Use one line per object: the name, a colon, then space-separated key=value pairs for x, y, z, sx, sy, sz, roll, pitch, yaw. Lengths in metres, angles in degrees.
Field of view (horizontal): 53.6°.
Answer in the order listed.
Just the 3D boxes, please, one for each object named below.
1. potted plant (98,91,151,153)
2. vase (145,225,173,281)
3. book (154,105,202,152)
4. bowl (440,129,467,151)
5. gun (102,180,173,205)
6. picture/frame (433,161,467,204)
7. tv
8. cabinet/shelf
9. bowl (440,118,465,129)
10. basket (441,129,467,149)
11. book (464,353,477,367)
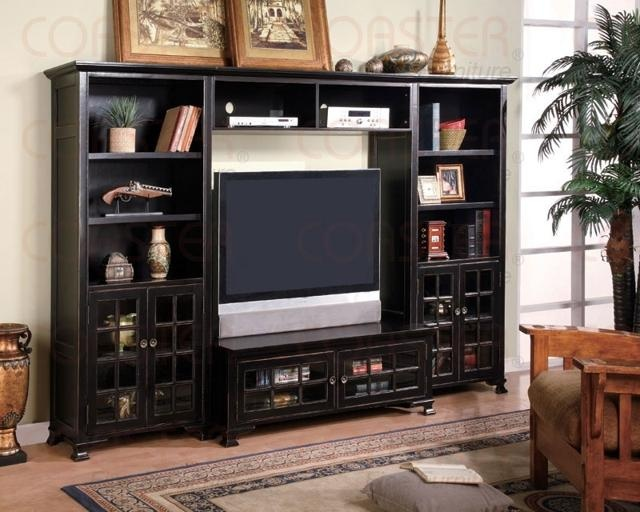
potted plant: x=-1.156 y=-0.788 z=3.884 sx=0.446 sy=0.355 sz=0.382 roll=0 pitch=-3 yaw=-6
vase: x=-0.985 y=-0.023 z=3.855 sx=0.116 sy=0.319 sz=0.122 roll=-1 pitch=4 yaw=8
book: x=-0.845 y=-0.761 z=3.819 sx=0.274 sy=0.298 sz=0.103 roll=10 pitch=13 yaw=-20
bowl: x=1.008 y=-0.869 z=4.709 sx=0.205 sy=0.109 sz=0.181 roll=-1 pitch=-1 yaw=-1
gun: x=-1.134 y=-0.398 z=3.943 sx=0.428 sy=0.147 sz=0.248 roll=-2 pitch=4 yaw=-14
picture/frame: x=0.989 y=-0.557 z=4.827 sx=0.410 sy=0.401 sz=0.047 roll=-5 pitch=-3 yaw=-32
tv: x=-0.187 y=-0.020 z=4.178 sx=1.394 sy=0.964 sz=0.125 roll=-2 pitch=7 yaw=-25
cabinet/shelf: x=-0.348 y=0.060 z=4.066 sx=3.130 sy=1.869 sz=0.669 roll=-2 pitch=4 yaw=-28
bowl: x=1.016 y=-0.980 z=4.750 sx=0.138 sy=0.045 sz=0.120 roll=0 pitch=1 yaw=-17
basket: x=1.001 y=-0.867 z=4.710 sx=0.188 sy=0.101 sz=0.166 roll=-1 pitch=-1 yaw=-1
book: x=1.142 y=0.780 z=4.760 sx=0.119 sy=0.093 sz=0.114 roll=1 pitch=1 yaw=17
